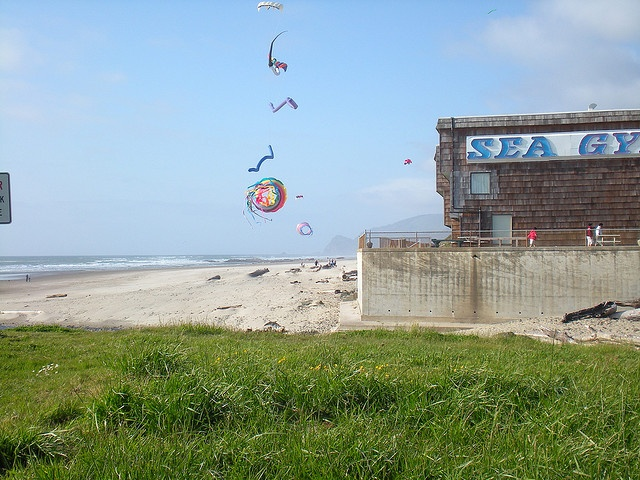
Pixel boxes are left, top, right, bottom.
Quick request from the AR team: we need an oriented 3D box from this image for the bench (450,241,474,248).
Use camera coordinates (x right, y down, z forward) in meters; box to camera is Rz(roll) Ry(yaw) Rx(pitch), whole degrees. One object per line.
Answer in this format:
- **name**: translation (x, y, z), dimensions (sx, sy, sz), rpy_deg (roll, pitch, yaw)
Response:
- **bench**: translation (6.003, 0.147, 25.379), dimensions (0.933, 0.244, 2.531), rpy_deg (-2, 0, 13)

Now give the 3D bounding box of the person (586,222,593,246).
- **person**: translation (11.273, -0.252, 25.204), dimensions (0.353, 0.791, 1.456), rpy_deg (-2, 0, 25)

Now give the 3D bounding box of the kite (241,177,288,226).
- **kite**: translation (-2.497, -1.927, 25.432), dimensions (2.453, 1.944, 0.803), rpy_deg (-14, 47, -38)
